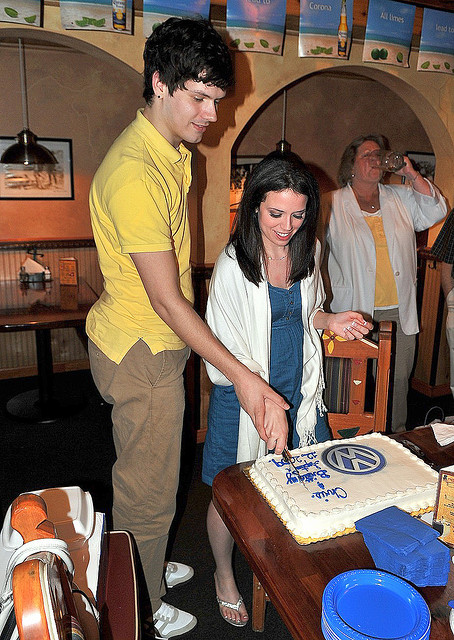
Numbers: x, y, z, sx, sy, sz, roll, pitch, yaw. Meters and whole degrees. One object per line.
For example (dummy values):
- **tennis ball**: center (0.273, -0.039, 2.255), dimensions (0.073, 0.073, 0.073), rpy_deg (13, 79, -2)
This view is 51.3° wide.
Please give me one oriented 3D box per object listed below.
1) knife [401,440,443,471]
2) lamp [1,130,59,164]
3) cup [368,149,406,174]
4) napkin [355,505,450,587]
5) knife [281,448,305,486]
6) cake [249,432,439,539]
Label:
- **knife**: center (0.570, 0.385, 1.409), dimensions (0.031, 0.038, 0.159), rpy_deg (32, 5, -22)
- **lamp**: center (-1.815, -1.521, 4.270), dimensions (0.330, 0.209, 0.360), rpy_deg (-1, 23, -4)
- **cup**: center (0.925, -0.915, 2.751), dimensions (0.107, 0.109, 0.164), rpy_deg (-38, 39, -15)
- **napkin**: center (0.341, 0.420, 0.925), dimensions (0.114, 0.055, 0.122), rpy_deg (-6, 17, -21)
- **knife**: center (0.177, 0.391, 1.281), dimensions (0.014, 0.021, 0.125), rpy_deg (-19, 38, -9)
- **cake**: center (0.319, 0.414, 1.215), dimensions (0.299, 0.043, 0.216), rpy_deg (-8, 19, -22)
